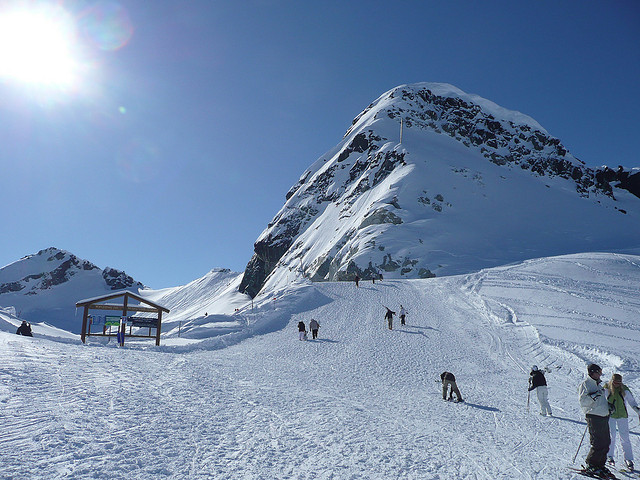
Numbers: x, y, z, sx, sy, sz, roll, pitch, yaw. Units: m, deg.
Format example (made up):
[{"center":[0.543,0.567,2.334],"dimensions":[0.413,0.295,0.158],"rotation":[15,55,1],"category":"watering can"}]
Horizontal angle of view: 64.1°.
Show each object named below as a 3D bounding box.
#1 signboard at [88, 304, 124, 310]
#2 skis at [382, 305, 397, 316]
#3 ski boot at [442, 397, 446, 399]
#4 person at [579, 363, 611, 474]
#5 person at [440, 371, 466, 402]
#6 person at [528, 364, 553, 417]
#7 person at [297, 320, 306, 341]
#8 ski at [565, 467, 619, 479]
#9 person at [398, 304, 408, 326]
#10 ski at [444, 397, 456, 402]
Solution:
[{"center":[-14.455,4.636,34.835],"dimensions":[2.436,0.351,0.964],"rotation":[2,2,13],"category":"signboard"},{"center":[5.436,5.558,39.945],"dimensions":[1.713,0.120,0.252],"rotation":[32,-24,-12],"category":"skis"},{"center":[5.341,6.833,21.999],"dimensions":[0.130,0.052,0.164],"rotation":[2,-16,-12],"category":"ski boot"},{"center":[8.589,5.625,15.979],"dimensions":[0.969,3.355,0.420],"rotation":[3,3,21],"category":"person"},{"center":[5.800,6.401,22.357],"dimensions":[0.955,1.273,1.234],"rotation":[3,2,15],"category":"person"},{"center":[8.856,6.066,20.525],"dimensions":[1.080,1.940,0.853],"rotation":[2,2,3],"category":"person"},{"center":[-1.143,6.131,34.437],"dimensions":[0.447,1.166,1.127],"rotation":[2,2,-2],"category":"person"},{"center":[8.263,7.381,16.229],"dimensions":[0.853,0.085,0.072],"rotation":[10,11,34],"category":"ski"},{"center":[6.070,5.501,37.349],"dimensions":[0.377,1.391,1.478],"rotation":[3,2,8],"category":"person"},{"center":[5.614,6.904,22.046],"dimensions":[0.826,0.036,0.144],"rotation":[0,3,-42],"category":"ski"}]
